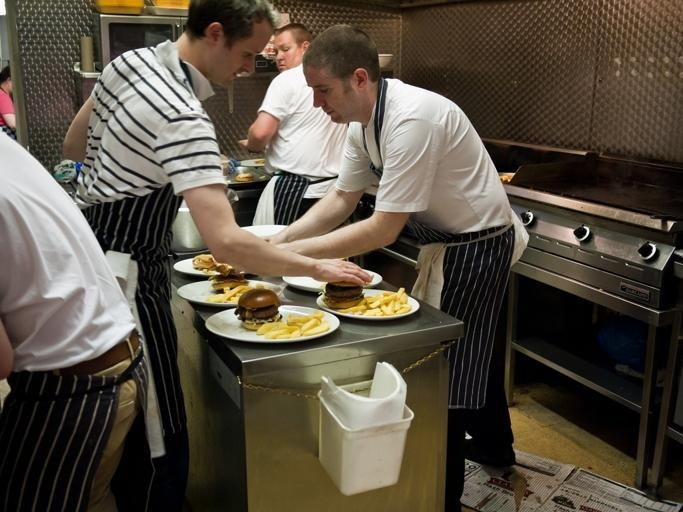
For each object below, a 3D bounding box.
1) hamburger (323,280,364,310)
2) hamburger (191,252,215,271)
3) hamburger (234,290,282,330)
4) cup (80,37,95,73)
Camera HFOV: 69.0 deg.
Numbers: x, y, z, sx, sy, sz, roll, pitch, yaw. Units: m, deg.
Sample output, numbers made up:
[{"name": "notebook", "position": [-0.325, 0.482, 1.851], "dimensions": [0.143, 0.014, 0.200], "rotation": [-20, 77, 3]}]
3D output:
[{"name": "hamburger", "position": [-0.001, 0.129, 1.757], "dimensions": [0.100, 0.069, 0.101], "rotation": [-3, 4, -35]}, {"name": "hamburger", "position": [-0.571, 0.023, 2.073], "dimensions": [0.089, 0.046, 0.095], "rotation": [6, 8, 6]}, {"name": "hamburger", "position": [-0.280, 0.166, 1.665], "dimensions": [0.115, 0.097, 0.122], "rotation": [-1, 10, 1]}, {"name": "cup", "position": [-2.027, -1.598, 3.960], "dimensions": [0.091, 0.259, 0.094], "rotation": [2, 18, -1]}]
